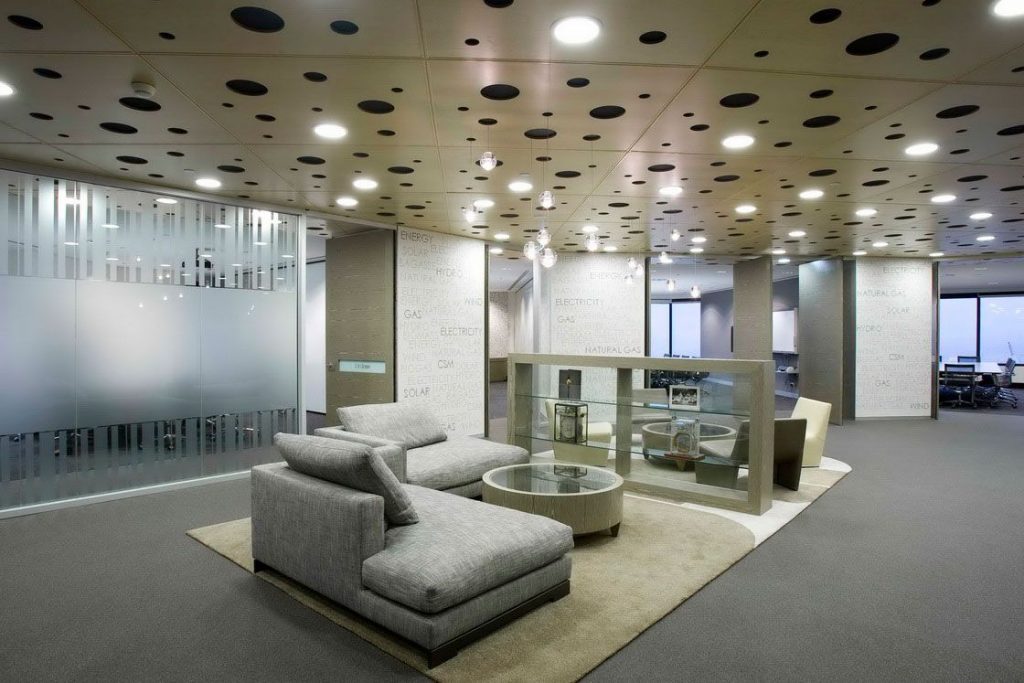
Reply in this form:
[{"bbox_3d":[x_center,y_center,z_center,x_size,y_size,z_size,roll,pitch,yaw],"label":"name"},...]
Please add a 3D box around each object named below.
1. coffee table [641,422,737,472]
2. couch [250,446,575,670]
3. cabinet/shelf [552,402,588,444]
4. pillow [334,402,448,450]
[{"bbox_3d":[2.236,1.287,8.022,1.295,0.487,1.284,0,-7,19],"label":"coffee table"},{"bbox_3d":[-0.858,1.724,5.643,2.537,0.928,1.677,0,-4,42],"label":"couch"},{"bbox_3d":[0.756,1.050,8.183,0.562,0.708,0.258,1,1,40],"label":"cabinet/shelf"},{"bbox_3d":[-1.322,1.005,7.608,0.596,0.471,1.408,3,0,38],"label":"pillow"}]
